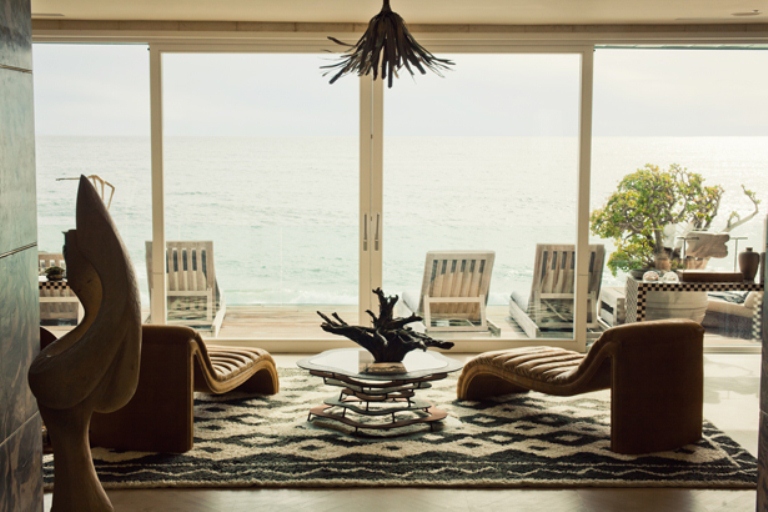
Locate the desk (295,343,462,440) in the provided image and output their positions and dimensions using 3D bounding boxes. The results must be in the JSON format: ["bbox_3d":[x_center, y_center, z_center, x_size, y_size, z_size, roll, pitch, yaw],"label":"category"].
[{"bbox_3d":[-0.125,1.185,6.188,1.270,0.470,1.256,4,-9,-8],"label":"desk"}]

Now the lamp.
[{"bbox_3d":[-0.059,-1.537,5.331,0.630,0.748,0.675,-1,3,-38],"label":"lamp"}]

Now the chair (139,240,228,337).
[{"bbox_3d":[-2.081,0.314,7.910,0.702,0.942,1.141,-1,6,-4],"label":"chair"}]

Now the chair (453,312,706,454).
[{"bbox_3d":[1.676,0.969,6.413,1.070,0.864,1.957,-2,2,-31],"label":"chair"}]

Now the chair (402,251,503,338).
[{"bbox_3d":[0.766,0.384,8.019,0.673,0.660,1.235,1,6,-3],"label":"chair"}]

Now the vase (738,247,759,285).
[{"bbox_3d":[3.715,0.105,7.454,0.207,0.310,0.117,1,2,10],"label":"vase"}]

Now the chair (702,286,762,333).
[{"bbox_3d":[3.792,0.591,8.061,0.530,0.490,0.528,2,1,15],"label":"chair"}]

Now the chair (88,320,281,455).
[{"bbox_3d":[-1.682,0.983,6.459,0.960,0.812,1.902,0,0,13],"label":"chair"}]
